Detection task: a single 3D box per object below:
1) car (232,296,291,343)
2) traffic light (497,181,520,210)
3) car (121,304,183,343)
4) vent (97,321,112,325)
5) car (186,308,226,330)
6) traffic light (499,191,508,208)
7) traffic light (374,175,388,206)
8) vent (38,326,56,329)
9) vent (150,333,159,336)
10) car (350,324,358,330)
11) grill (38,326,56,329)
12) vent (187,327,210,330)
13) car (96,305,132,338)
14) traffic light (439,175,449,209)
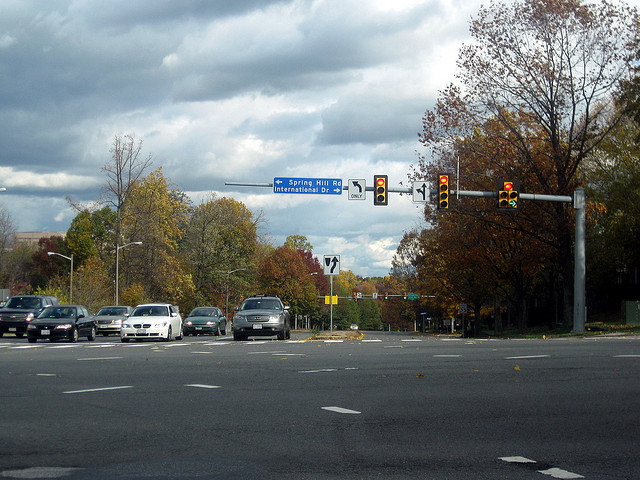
[{"bbox_3d":[-2.324,3.096,35.481,2.199,1.874,1.938,1,-7,-5],"label":"car"},{"bbox_3d":[7.316,-1.799,34.585,0.993,1.446,0.450,0,-4,-2],"label":"traffic light"},{"bbox_3d":[-6.846,3.332,35.973,1.646,1.704,3.490,-2,-8,16],"label":"car"},{"bbox_3d":[-10.839,4.169,44.857,0.697,0.164,0.170,1,-7,-7],"label":"vent"},{"bbox_3d":[-5.784,3.941,44.707,1.718,1.185,2.327,1,-8,-5],"label":"car"},{"bbox_3d":[7.134,-1.606,34.582,0.317,0.633,0.208,-1,-7,11],"label":"traffic light"},{"bbox_3d":[2.423,-2.018,35.468,0.552,1.313,0.312,-2,28,1],"label":"traffic light"},{"bbox_3d":[-10.656,3.406,34.672,0.581,0.107,0.111,5,-9,-29],"label":"vent"},{"bbox_3d":[-6.546,3.727,35.169,0.358,0.105,0.043,5,-8,-32],"label":"vent"},{"bbox_3d":[5.510,13.968,144.389,1.192,0.988,2.429,-1,-8,1],"label":"car"},{"bbox_3d":[-10.656,3.406,34.672,0.581,0.107,0.111,5,-9,-29],"label":"grill"},{"bbox_3d":[-5.901,4.322,43.539,0.898,0.097,0.170,0,-8,4],"label":"vent"},{"bbox_3d":[-10.690,3.996,45.677,1.625,1.515,4.002,-1,-10,1],"label":"car"},{"bbox_3d":[4.868,-1.960,34.922,0.331,1.270,0.401,-1,-7,12],"label":"traffic light"}]
